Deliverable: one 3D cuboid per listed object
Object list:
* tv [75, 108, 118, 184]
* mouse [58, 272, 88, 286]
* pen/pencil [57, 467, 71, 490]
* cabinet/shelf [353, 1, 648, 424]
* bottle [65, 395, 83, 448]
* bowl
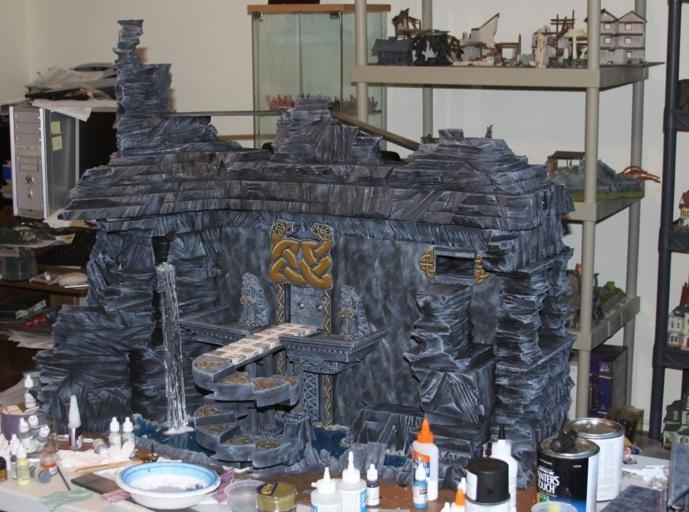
[{"bbox_3d":[-1.538,-0.694,5.763,0.248,0.400,0.131,-4,8,-14],"label":"tv"},{"bbox_3d":[-1.758,0.154,6.050,0.195,0.057,0.190,8,8,37],"label":"mouse"},{"bbox_3d":[-1.163,0.921,3.853,0.032,0.021,0.212,-24,24,-21],"label":"pen/pencil"},{"bbox_3d":[0.917,-0.354,5.933,1.856,2.703,1.222,1,9,24],"label":"cabinet/shelf"},{"bbox_3d":[-1.198,0.730,4.112,0.053,0.234,0.062,-5,9,-17],"label":"bottle"},{"bbox_3d":[-0.723,0.901,3.721,0.257,0.049,0.243,3,4,0],"label":"bowl"}]
